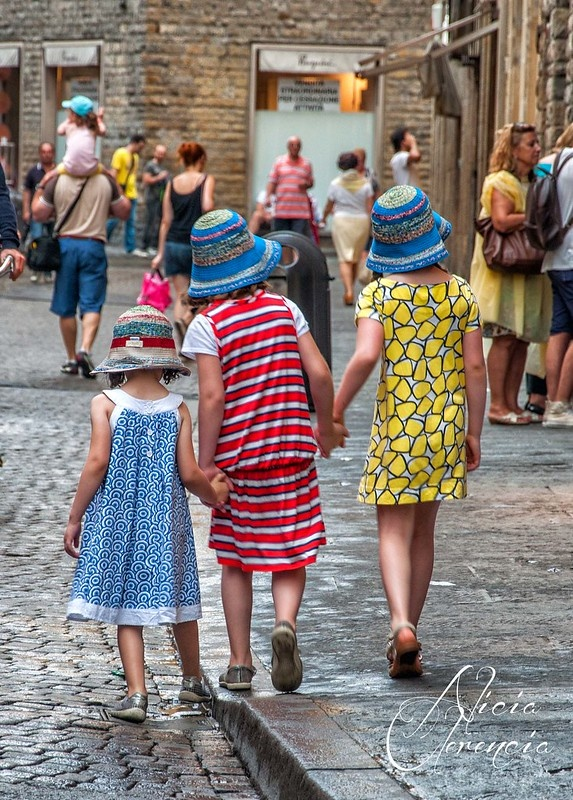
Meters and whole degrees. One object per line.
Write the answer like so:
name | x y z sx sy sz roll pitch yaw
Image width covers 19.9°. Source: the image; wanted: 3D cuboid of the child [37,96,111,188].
child | -1.524 -1.804 11.836 0.462 0.740 0.382 7 4 40

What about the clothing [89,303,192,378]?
clothing | -0.399 -0.155 4.428 0.194 0.139 0.206 0 -1 -7

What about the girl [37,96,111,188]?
girl | -1.555 -1.809 11.856 0.492 0.752 0.422 9 6 31

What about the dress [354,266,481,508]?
dress | 0.362 -0.021 4.523 0.357 0.622 0.192 1 10 -4
